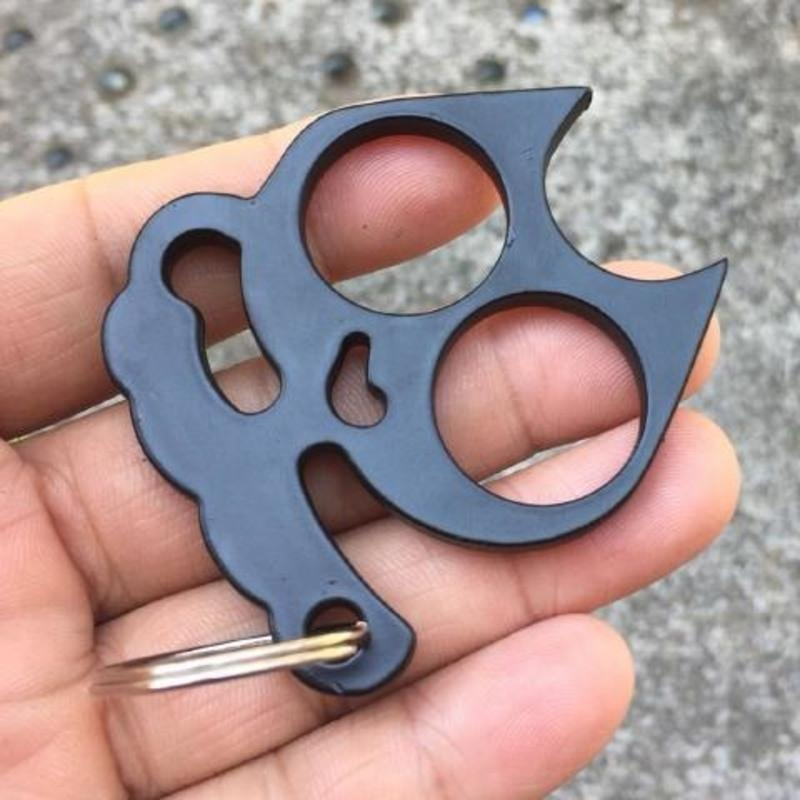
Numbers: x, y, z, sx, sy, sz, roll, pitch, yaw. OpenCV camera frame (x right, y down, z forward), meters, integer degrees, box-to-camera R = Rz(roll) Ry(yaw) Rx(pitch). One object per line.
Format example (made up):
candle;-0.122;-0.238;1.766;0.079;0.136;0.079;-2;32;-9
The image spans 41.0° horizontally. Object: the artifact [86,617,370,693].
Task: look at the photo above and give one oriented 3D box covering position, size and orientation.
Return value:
artifact;-0.161;0.241;0.999;0.164;0.099;0.026;-13;90;2
